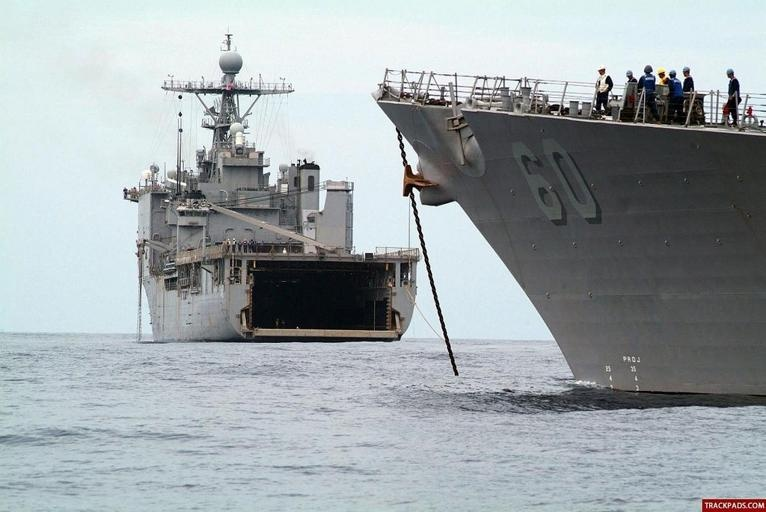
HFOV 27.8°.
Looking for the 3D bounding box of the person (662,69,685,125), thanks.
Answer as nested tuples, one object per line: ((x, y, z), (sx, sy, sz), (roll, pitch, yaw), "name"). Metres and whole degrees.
((7.935, -4.255, 41.960), (0.462, 1.349, 0.780), (0, 5, 9), "person")

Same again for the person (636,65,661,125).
((7.097, -4.324, 41.505), (0.539, 1.438, 1.985), (0, 4, 10), "person")

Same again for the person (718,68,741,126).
((9.442, -4.220, 41.816), (0.573, 1.465, 0.588), (3, 6, 40), "person")
